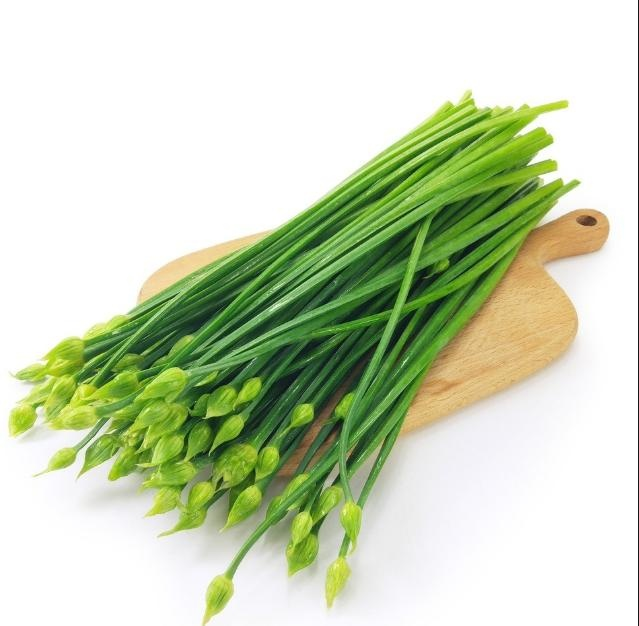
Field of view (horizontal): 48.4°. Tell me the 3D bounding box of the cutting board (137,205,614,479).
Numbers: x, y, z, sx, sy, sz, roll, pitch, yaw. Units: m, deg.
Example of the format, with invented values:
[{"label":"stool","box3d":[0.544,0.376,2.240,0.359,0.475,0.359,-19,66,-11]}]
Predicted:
[{"label":"cutting board","box3d":[0.333,0.124,1.696,1.247,0.631,0.045,-18,-51,-18]}]
